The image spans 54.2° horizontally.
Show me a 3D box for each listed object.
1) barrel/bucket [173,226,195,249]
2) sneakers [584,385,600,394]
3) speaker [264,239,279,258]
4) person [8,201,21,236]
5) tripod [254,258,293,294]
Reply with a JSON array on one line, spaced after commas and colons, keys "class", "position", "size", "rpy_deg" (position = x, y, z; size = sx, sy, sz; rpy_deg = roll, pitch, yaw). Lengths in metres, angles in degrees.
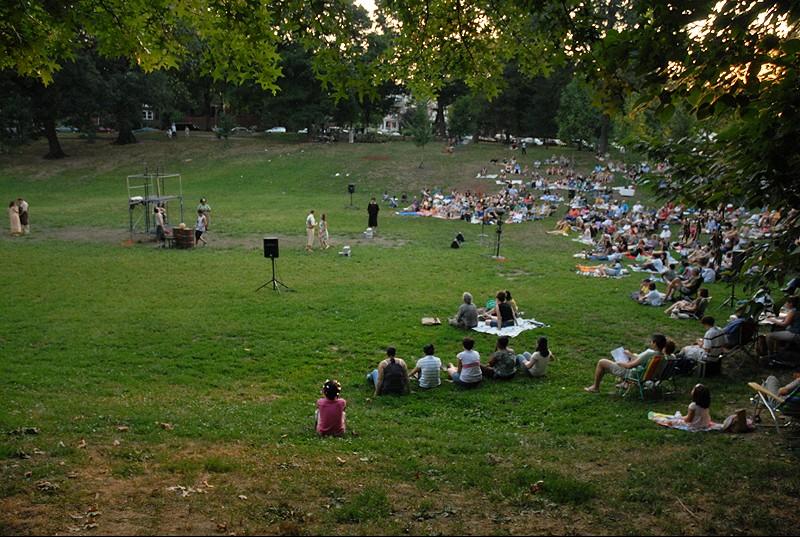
[{"class": "barrel/bucket", "position": [-9.758, -1.404, 35.270], "size": [1.003, 0.957, 0.618], "rpy_deg": [0, 10, -2]}, {"class": "sneakers", "position": [5.111, 3.177, 20.784], "size": [0.376, 0.281, 0.171], "rpy_deg": [8, 6, 19]}, {"class": "speaker", "position": [-4.545, -0.699, 27.662], "size": [0.431, 0.664, 0.631], "rpy_deg": [-3, 10, -18]}, {"class": "person", "position": [-17.794, -2.285, 36.253], "size": [0.388, 1.504, 0.683], "rpy_deg": [-2, 10, -14]}, {"class": "tripod", "position": [-4.665, 0.411, 29.152], "size": [1.600, 1.222, 1.169], "rpy_deg": [1, 8, 4]}]
